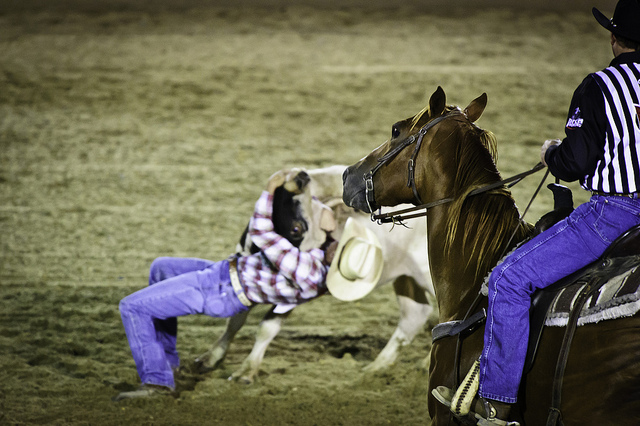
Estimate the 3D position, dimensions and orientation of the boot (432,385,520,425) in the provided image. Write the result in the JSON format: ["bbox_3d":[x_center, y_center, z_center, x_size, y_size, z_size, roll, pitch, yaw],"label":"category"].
[{"bbox_3d":[0.882,1.081,7.695,0.512,0.164,0.195,14,10,14],"label":"boot"}]

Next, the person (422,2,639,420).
[{"bbox_3d":[1.303,0.028,7.495,0.828,2.466,0.639,-2,22,-35],"label":"person"}]

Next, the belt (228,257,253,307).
[{"bbox_3d":[-0.553,0.455,8.938,0.218,0.295,0.104,25,22,39],"label":"belt"}]
